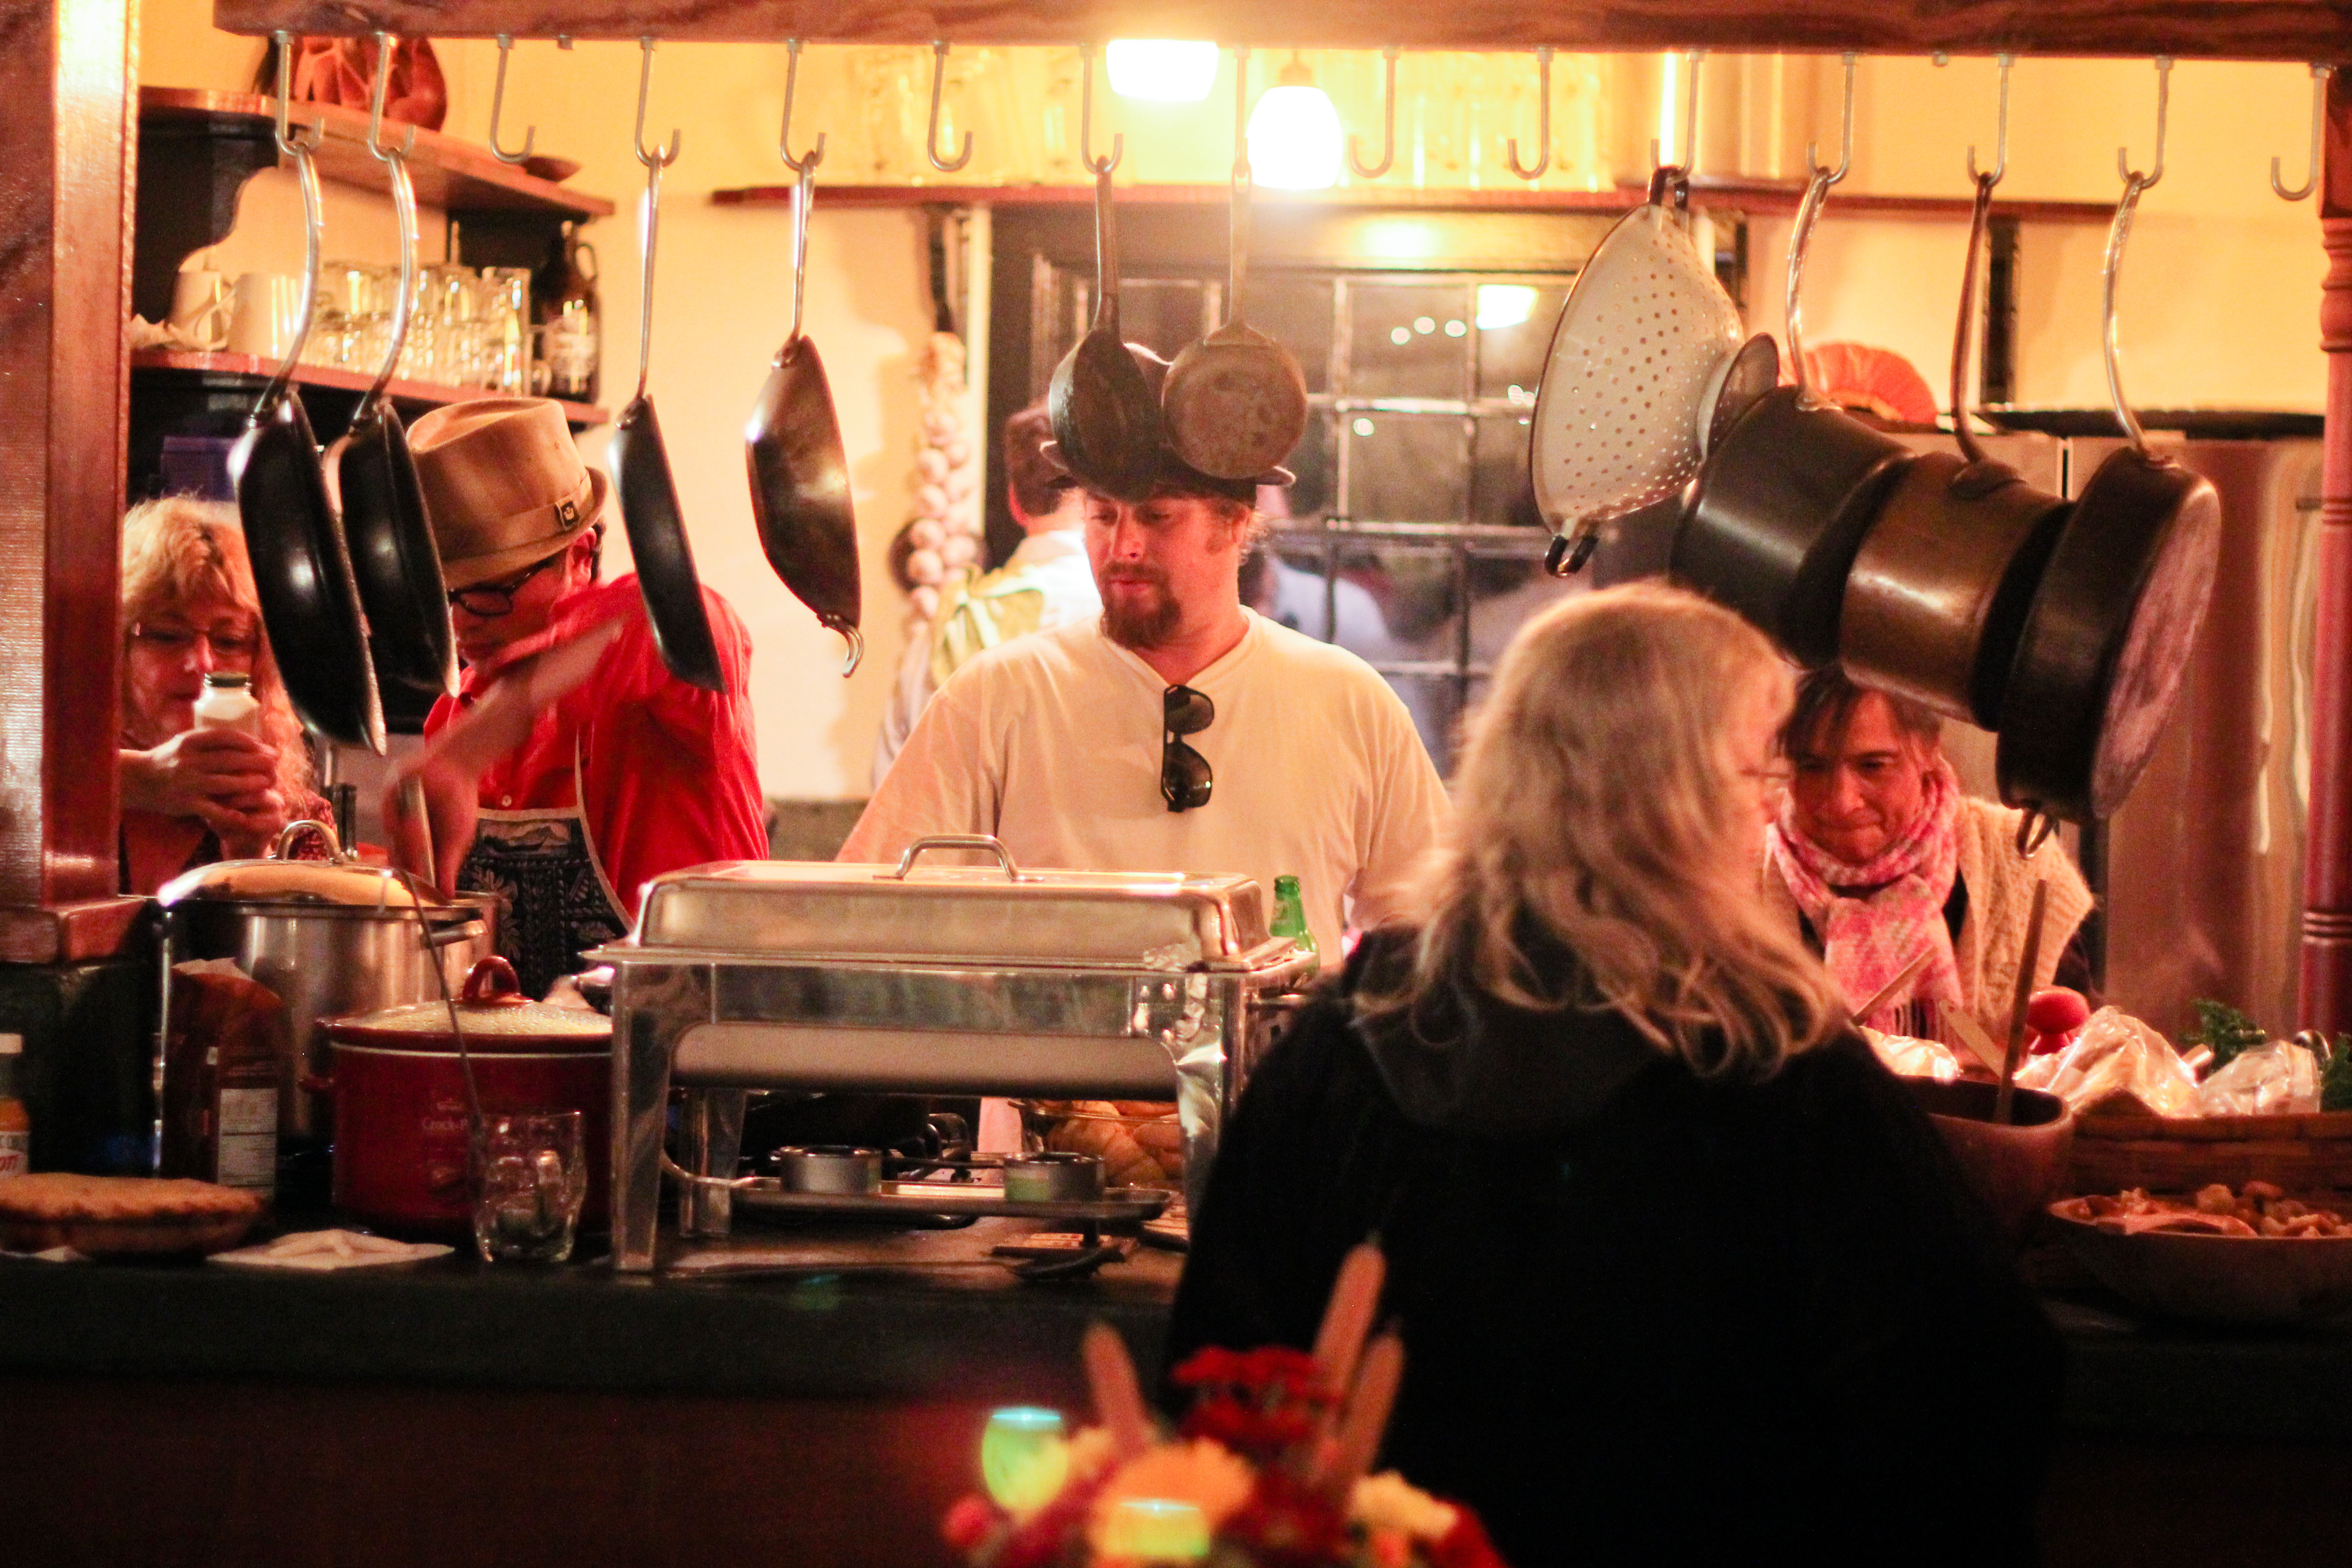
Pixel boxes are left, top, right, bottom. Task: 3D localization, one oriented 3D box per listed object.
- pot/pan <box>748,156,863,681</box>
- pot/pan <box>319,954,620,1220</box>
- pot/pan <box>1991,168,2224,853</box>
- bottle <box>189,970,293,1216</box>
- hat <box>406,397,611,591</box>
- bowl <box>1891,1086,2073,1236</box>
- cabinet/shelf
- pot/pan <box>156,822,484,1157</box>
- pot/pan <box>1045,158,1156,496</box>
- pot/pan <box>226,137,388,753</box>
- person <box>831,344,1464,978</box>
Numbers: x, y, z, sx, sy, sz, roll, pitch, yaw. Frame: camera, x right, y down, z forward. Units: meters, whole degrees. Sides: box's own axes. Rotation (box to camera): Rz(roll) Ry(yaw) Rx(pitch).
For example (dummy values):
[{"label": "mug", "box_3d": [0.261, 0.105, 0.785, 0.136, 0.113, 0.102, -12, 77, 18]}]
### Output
[{"label": "pot/pan", "box_3d": [-0.504, -0.443, 3.233, 0.165, 0.746, 0.087, -11, 19, -38]}, {"label": "pot/pan", "box_3d": [-0.824, 0.363, 2.915, 0.287, 0.233, 0.279, 1, -1, 5]}, {"label": "pot/pan", "box_3d": [1.024, -0.193, 2.688, 0.080, 0.514, 0.238, 8, -4, 27]}, {"label": "bottle", "box_3d": [-1.154, 0.366, 2.967, 0.124, 0.280, 0.057, 3, 3, 3]}, {"label": "hat", "box_3d": [-0.993, -0.456, 3.691, 0.235, 0.118, 0.306, 1, 36, 16]}, {"label": "bowl", "box_3d": [0.893, 0.392, 2.701, 0.186, 0.125, 0.187, 3, 1, 0]}, {"label": "cabinet/shelf", "box_3d": [-1.617, -1.215, 5.166, 0.251, 0.349, 1.453, 19, 6, 9]}, {"label": "pot/pan", "box_3d": [-1.039, 0.227, 3.159, 0.505, 0.339, 0.332, 0, -5, 11]}, {"label": "pot/pan", "box_3d": [-0.097, -0.619, 3.362, 0.160, 0.457, 0.079, 0, 11, 6]}, {"label": "pot/pan", "box_3d": [-1.043, -0.411, 2.948, 0.176, 0.739, 0.271, 2, 3, -20]}, {"label": "person", "box_3d": [0.008, -0.231, 4.076, 1.293, 1.310, 0.569, 1, 4, 0]}]
